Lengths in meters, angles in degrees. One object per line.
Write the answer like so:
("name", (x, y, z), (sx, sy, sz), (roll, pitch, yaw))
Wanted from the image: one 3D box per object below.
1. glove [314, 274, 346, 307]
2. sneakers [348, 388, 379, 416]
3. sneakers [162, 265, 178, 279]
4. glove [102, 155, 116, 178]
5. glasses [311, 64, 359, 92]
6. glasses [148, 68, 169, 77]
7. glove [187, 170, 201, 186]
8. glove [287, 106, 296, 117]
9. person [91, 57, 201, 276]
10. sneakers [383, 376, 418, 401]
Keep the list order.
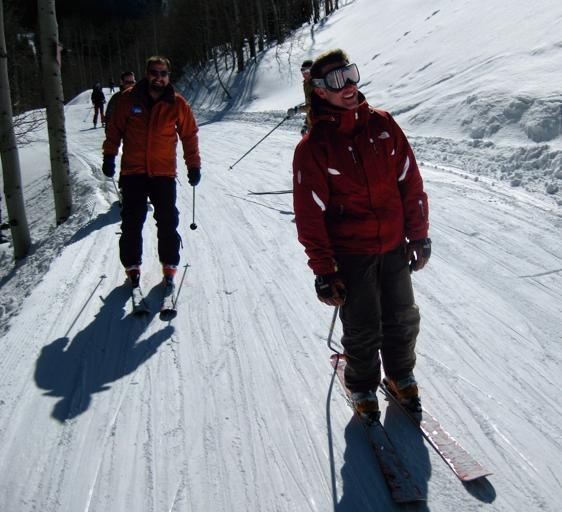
("glove", (0.286, 0.193, 2.430), (0.176, 0.195, 0.096), (-2, 21, 4))
("sneakers", (0.504, 0.865, 2.522), (0.137, 0.141, 0.116), (-7, -16, 12))
("sneakers", (-1.087, 0.167, 4.131), (0.118, 0.123, 0.182), (-5, 21, -4))
("glove", (-1.788, -0.897, 4.382), (0.134, 0.226, 0.114), (1, 8, 8))
("glasses", (0.329, -0.980, 2.378), (0.197, 0.099, 0.195), (-21, 20, -21))
("glasses", (-1.158, -1.718, 4.039), (0.191, 0.092, 0.091), (-9, 22, -15))
("glove", (-0.919, -0.829, 4.533), (0.142, 0.200, 0.052), (-1, -10, 21))
("glove", (0.186, -2.323, 6.997), (0.075, 0.105, 0.259), (0, 2, 6))
("person", (-1.215, -0.807, 4.196), (0.984, 2.104, 0.956), (-11, 22, -19))
("sneakers", (0.767, 0.804, 2.727), (0.097, 0.123, 0.286), (-9, 5, -13))
